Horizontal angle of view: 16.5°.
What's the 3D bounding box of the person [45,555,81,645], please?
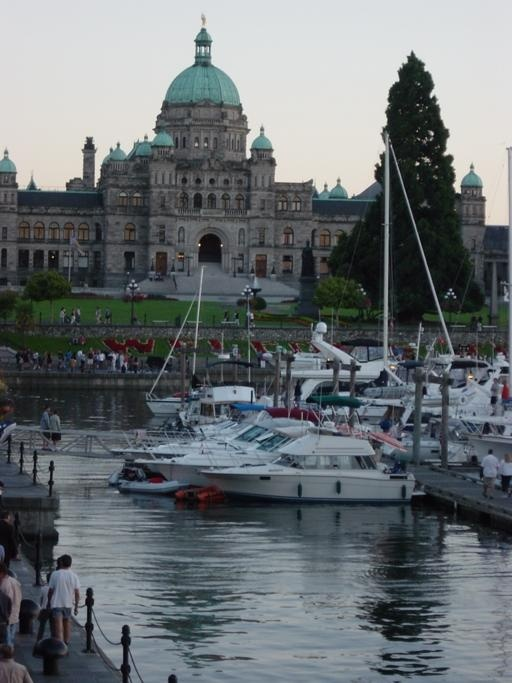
[{"bbox_3d":[-2.826,3.715,25.551,0.442,1.305,0.846,1,-2,-7],"label":"person"}]
